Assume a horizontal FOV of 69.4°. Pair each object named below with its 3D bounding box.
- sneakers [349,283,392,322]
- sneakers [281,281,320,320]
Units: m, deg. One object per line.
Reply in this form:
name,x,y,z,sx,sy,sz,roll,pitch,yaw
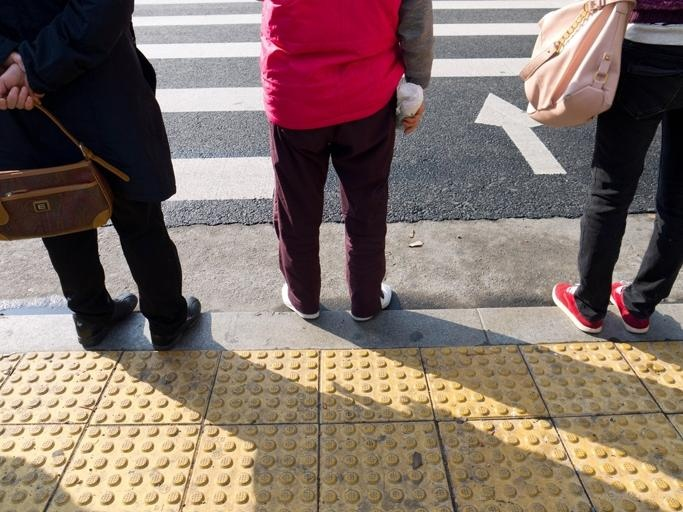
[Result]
sneakers,0.218,0.317,3.431,0.147,0.151,0.399,25,40,21
sneakers,-0.291,0.315,3.457,0.140,0.144,0.373,-25,45,-25
